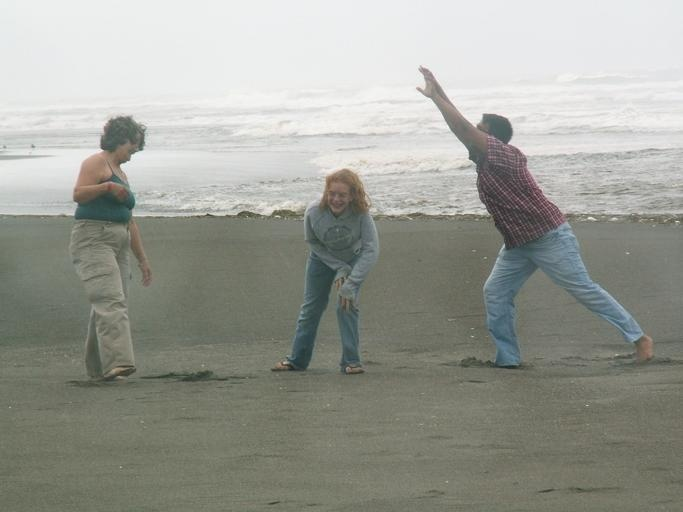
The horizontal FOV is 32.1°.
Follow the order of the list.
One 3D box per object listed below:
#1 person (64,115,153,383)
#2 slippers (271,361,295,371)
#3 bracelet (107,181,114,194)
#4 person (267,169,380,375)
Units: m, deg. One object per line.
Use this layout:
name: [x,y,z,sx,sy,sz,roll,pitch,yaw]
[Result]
person: [-2.177,-0.097,11.166,0.682,2.414,0.857,-2,8,4]
slippers: [-0.551,1.051,11.431,0.233,0.086,0.088,3,2,1]
bracelet: [-2.114,-0.637,10.900,0.053,0.088,0.030,-4,8,-10]
person: [-0.095,0.136,11.299,0.920,1.938,0.533,-1,8,10]
